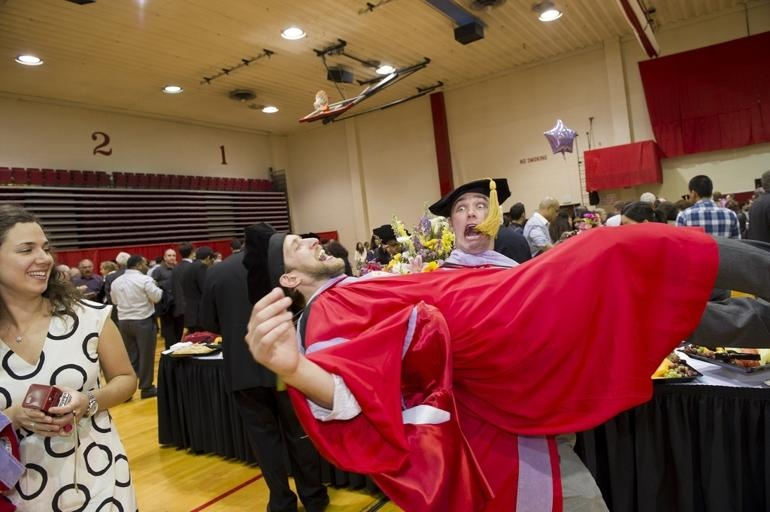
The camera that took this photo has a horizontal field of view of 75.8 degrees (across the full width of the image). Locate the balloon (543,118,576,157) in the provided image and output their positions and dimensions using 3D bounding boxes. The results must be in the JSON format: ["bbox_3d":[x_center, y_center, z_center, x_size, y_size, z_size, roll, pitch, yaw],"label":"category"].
[{"bbox_3d":[3.041,-2.059,8.537,0.445,0.488,0.314,-7,4,-14],"label":"balloon"}]

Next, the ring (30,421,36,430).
[{"bbox_3d":[-1.538,0.748,2.157,0.018,0.029,0.030,-3,-8,-13],"label":"ring"}]

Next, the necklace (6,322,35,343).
[{"bbox_3d":[-1.708,0.360,2.295,0.094,0.092,0.037,-4,-9,-22],"label":"necklace"}]
